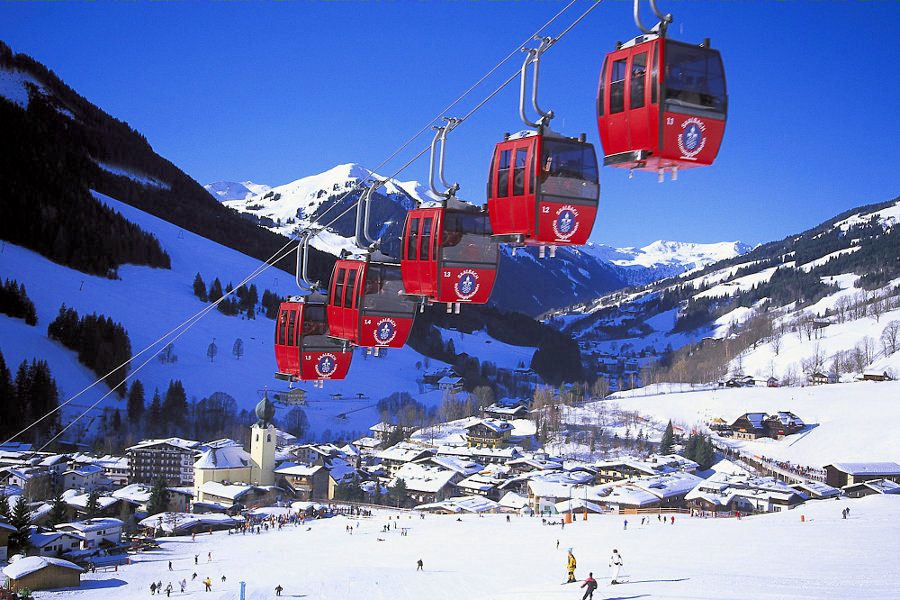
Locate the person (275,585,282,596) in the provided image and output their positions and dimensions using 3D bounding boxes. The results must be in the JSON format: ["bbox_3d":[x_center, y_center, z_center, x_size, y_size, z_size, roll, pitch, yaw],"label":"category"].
[{"bbox_3d":[-15.871,26.850,105.133,0.655,1.026,1.291,2,-14,-8],"label":"person"}]

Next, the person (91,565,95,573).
[{"bbox_3d":[-35.467,26.599,112.493,0.524,0.692,1.218,5,-15,-18],"label":"person"}]

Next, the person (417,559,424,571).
[{"bbox_3d":[-2.904,25.469,109.516,0.597,1.014,1.441,0,-14,-2],"label":"person"}]
